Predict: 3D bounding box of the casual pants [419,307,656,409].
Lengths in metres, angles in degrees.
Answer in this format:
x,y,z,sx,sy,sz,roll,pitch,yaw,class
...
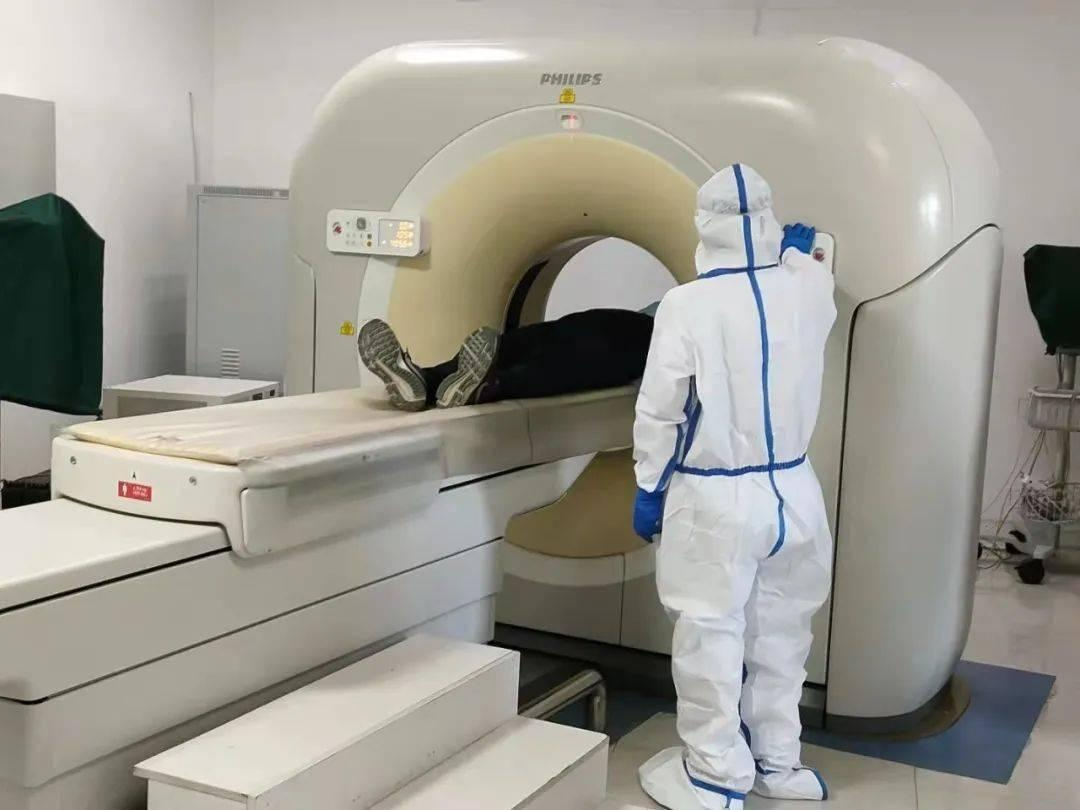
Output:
x,y,z,sx,sy,sz,roll,pitch,yaw,class
0.071,-0.207,2.623,0.280,0.324,1.118,1,10,26,casual pants

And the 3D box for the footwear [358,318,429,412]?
x,y,z,sx,sy,sz,roll,pitch,yaw,class
-0.360,-0.094,2.131,0.103,0.284,0.123,-27,-9,17,footwear

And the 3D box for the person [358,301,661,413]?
x,y,z,sx,sy,sz,roll,pitch,yaw,class
-0.084,-0.121,2.334,0.604,0.203,0.375,-5,13,-44,person
